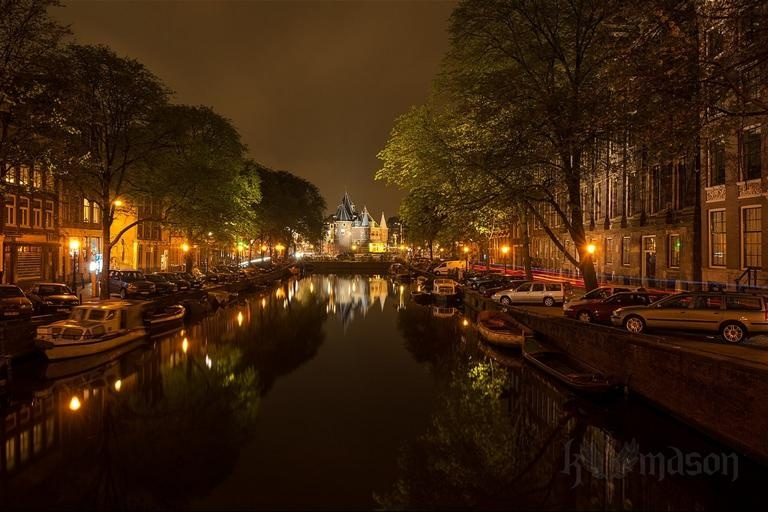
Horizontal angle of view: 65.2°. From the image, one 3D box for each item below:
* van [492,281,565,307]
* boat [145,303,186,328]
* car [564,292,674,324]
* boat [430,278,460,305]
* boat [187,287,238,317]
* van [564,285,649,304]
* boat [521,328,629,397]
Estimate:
[{"bbox_3d":[9.541,2.487,38.985,3.583,1.421,1.749,2,-2,9],"label":"van"},{"bbox_3d":[-13.693,3.765,37.524,1.197,1.069,4.206,7,5,0],"label":"boat"},{"bbox_3d":[11.835,2.555,30.757,4.413,1.621,2.040,-1,-5,6],"label":"car"},{"bbox_3d":[5.665,3.266,53.320,2.258,2.006,2.514,-1,13,-7],"label":"boat"},{"bbox_3d":[-13.393,3.638,46.705,1.393,1.212,7.496,2,-3,0],"label":"boat"},{"bbox_3d":[12.306,2.166,33.260,2.512,0.951,1.219,-1,-5,1],"label":"van"},{"bbox_3d":[8.290,5.336,27.842,1.526,1.517,5.639,-4,14,-18],"label":"boat"}]
